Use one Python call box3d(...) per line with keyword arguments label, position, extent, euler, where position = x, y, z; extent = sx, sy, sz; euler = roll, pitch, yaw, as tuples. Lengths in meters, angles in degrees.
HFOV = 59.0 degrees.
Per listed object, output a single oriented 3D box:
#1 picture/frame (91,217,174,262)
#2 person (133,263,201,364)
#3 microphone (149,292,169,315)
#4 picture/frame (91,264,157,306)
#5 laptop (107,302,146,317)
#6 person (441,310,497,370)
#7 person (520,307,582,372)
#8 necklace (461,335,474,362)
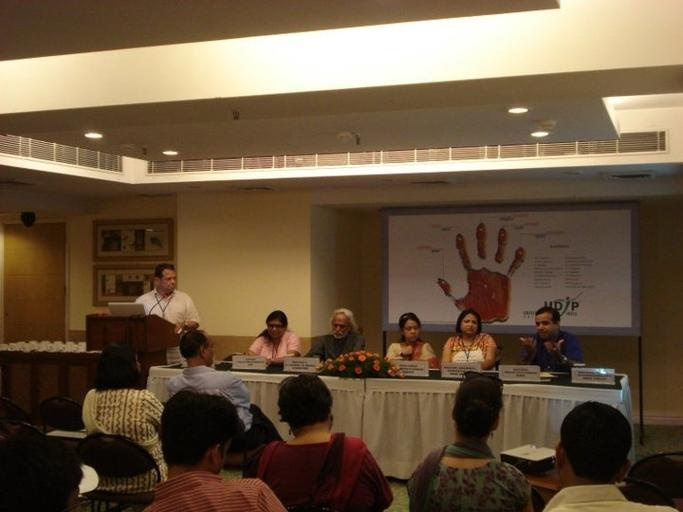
box3d(label="picture/frame", position=(-3.212, -0.251, 9.499), extent=(1.143, 0.642, 0.054), euler=(-2, 19, -30))
box3d(label="person", position=(-1.940, 0.953, 6.678), extent=(0.680, 1.686, 0.641), euler=(-3, -6, -17))
box3d(label="microphone", position=(-2.026, 0.536, 6.744), extent=(0.100, 0.208, 0.202), euler=(2, 25, -4))
box3d(label="picture/frame", position=(-3.398, 0.442, 9.520), extent=(0.914, 0.610, 0.031), euler=(-1, 3, -4))
box3d(label="laptop", position=(-2.191, 0.554, 6.200), extent=(0.457, 0.131, 0.077), euler=(-2, -6, 18))
box3d(label="person", position=(1.229, 0.884, 5.823), extent=(0.517, 0.740, 0.475), euler=(-1, -15, 9))
box3d(label="person", position=(2.110, 0.828, 5.997), extent=(0.536, 0.939, 0.484), euler=(-10, -15, 40))
box3d(label="necklace", position=(1.196, 0.899, 5.784), extent=(0.162, 0.233, 0.085), euler=(-2, -27, 15))
